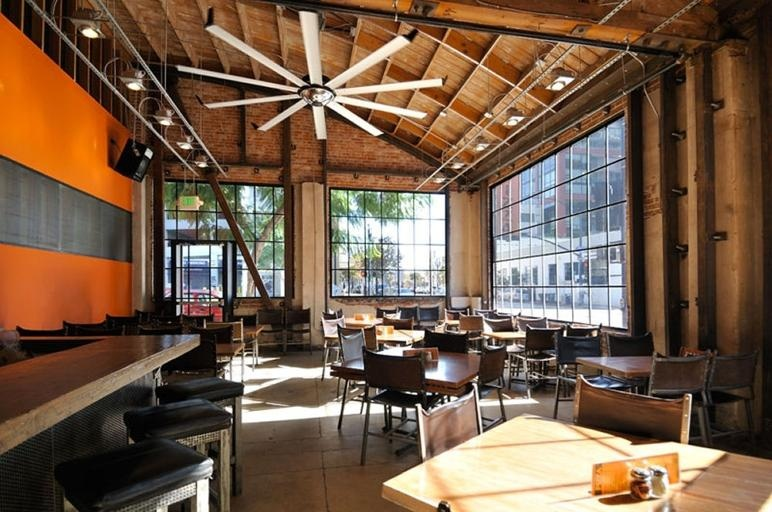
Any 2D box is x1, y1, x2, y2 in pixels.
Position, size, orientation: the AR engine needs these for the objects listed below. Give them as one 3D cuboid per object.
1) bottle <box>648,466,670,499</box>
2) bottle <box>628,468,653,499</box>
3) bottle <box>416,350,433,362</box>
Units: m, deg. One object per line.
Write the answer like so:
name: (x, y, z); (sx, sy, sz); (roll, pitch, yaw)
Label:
bottle: (2.112, 1.764, 4.634); (0.198, 0.198, 0.184); (3, -13, 5)
bottle: (1.948, 1.734, 4.566); (0.232, 0.211, 0.162); (0, -4, -5)
bottle: (0.454, 1.157, 6.931); (0.206, 0.176, 0.151); (0, -2, -9)
